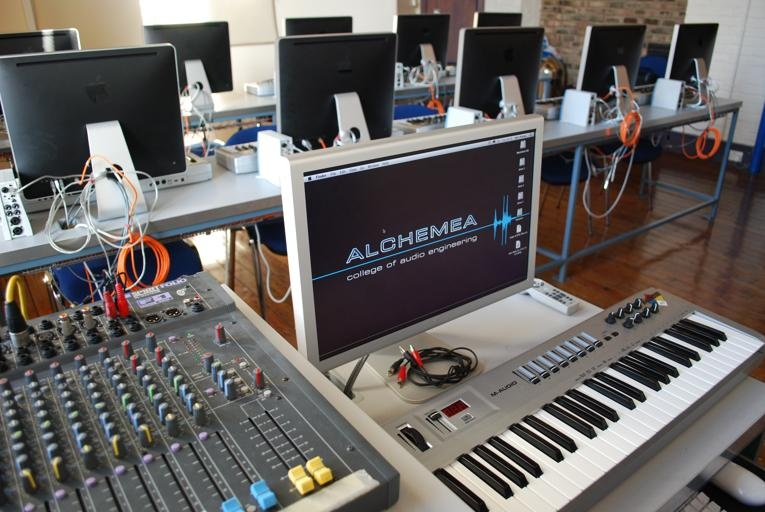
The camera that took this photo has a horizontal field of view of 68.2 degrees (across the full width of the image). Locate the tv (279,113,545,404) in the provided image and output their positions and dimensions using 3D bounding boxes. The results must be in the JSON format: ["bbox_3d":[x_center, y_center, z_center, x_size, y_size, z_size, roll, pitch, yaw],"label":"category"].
[{"bbox_3d":[0.104,-0.076,1.564,0.816,0.547,0.151,-17,24,-32],"label":"tv"}]

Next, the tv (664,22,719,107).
[{"bbox_3d":[2.395,-1.472,4.288,0.510,0.521,0.159,-13,29,-26],"label":"tv"}]

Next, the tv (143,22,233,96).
[{"bbox_3d":[-1.333,-1.348,3.964,0.561,0.511,0.182,-12,19,-24],"label":"tv"}]

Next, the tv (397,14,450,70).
[{"bbox_3d":[0.411,-1.923,5.130,0.560,0.492,0.182,-18,27,-30],"label":"tv"}]

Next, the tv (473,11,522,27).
[{"bbox_3d":[1.058,-2.155,5.144,0.460,0.137,0.096,-11,31,-11],"label":"tv"}]

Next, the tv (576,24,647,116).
[{"bbox_3d":[1.584,-1.265,3.782,0.577,0.509,0.201,-13,26,-30],"label":"tv"}]
